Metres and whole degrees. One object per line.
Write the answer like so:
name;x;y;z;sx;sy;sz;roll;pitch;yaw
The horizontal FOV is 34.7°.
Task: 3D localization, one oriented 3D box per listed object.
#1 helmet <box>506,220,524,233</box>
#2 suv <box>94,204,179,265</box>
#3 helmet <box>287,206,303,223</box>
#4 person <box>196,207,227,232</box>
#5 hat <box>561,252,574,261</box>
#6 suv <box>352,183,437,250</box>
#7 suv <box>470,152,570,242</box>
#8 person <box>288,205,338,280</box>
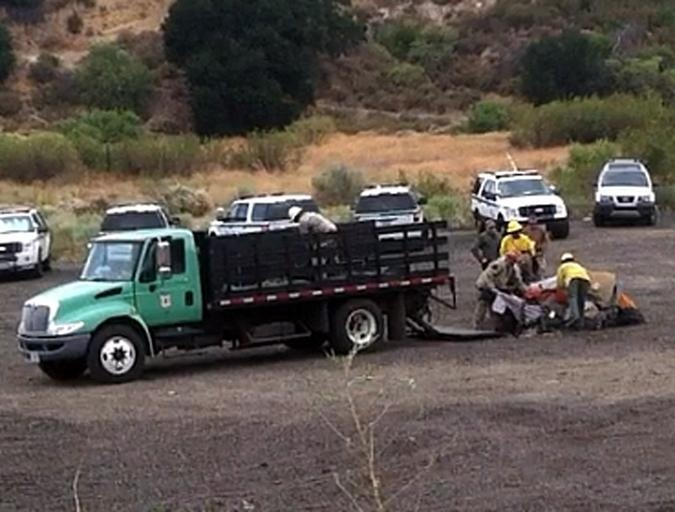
helmet;3.698;-0.596;23.031;0.272;0.168;0.300;-11;-2;-3
suv;-5.618;-0.780;30.941;1.355;1.173;2.221;-3;-2;3
helmet;-0.854;-0.843;21.772;0.287;0.164;0.405;-6;6;-6
person;-4.271;-1.171;36.056;1.137;0.597;0.783;-8;5;45
hat;5.062;0.035;24.095;0.209;0.169;0.295;1;8;-24
suv;1.433;-1.018;27.872;1.882;1.910;3.367;-2;-3;4
suv;5.596;-1.609;34.505;1.773;2.117;3.291;-2;4;-15
person;-0.713;-0.269;20.939;0.774;1.320;1.251;-4;4;20
